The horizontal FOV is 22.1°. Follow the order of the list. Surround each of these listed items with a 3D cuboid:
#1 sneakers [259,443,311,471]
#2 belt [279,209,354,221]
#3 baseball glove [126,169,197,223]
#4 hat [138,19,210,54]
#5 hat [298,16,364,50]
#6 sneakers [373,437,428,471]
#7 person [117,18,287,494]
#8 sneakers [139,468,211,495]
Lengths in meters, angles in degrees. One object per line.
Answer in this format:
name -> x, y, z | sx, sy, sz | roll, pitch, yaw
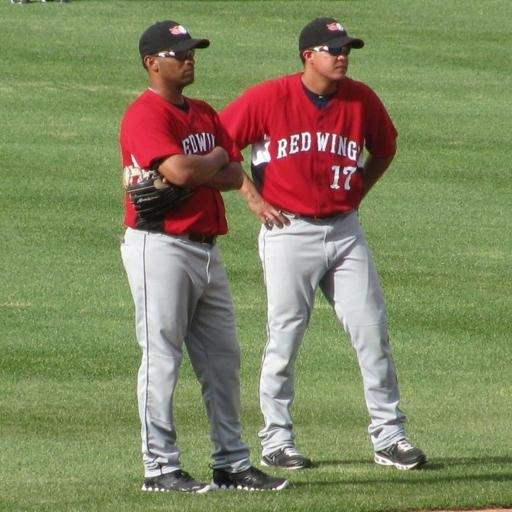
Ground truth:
sneakers -> 0.234, 1.554, 10.070 | 0.353, 0.160, 0.152 | -3, -6, 25
belt -> 0.466, -0.318, 10.118 | 0.532, 0.064, 0.105 | -1, 19, 3
baseball glove -> -0.686, -0.434, 9.486 | 0.408, 0.323, 0.175 | -15, 21, 16
hat -> -0.629, -1.583, 9.685 | 0.406, 0.227, 0.267 | -12, 3, 25
hat -> 0.576, -1.708, 10.144 | 0.405, 0.213, 0.262 | -2, 2, 32
sneakers -> 1.108, 1.523, 9.977 | 0.407, 0.191, 0.163 | -2, -1, 34
person -> -0.529, 0.030, 9.613 | 0.922, 3.298, 1.287 | -2, 19, -1
sneakers -> -0.587, 1.636, 9.593 | 0.473, 0.179, 0.179 | 0, -2, 1
